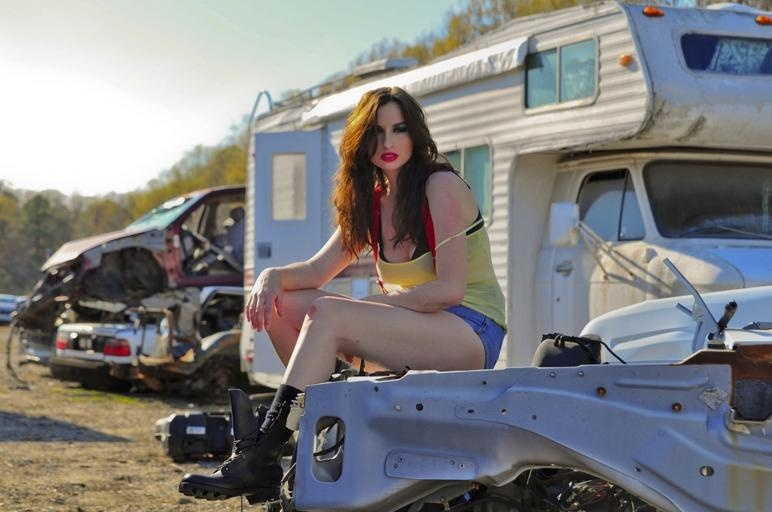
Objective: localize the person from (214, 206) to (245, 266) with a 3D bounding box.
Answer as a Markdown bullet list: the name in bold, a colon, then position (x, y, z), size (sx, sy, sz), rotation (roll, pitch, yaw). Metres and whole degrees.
- **person**: position (-2.191, -0.298, 21.563), size (0.576, 0.864, 0.291), rotation (19, -27, -36)

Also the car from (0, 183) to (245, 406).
- **car**: position (-3.330, 0.437, 20.260), size (3.271, 1.788, 2.419), rotation (-4, 1, -23)
